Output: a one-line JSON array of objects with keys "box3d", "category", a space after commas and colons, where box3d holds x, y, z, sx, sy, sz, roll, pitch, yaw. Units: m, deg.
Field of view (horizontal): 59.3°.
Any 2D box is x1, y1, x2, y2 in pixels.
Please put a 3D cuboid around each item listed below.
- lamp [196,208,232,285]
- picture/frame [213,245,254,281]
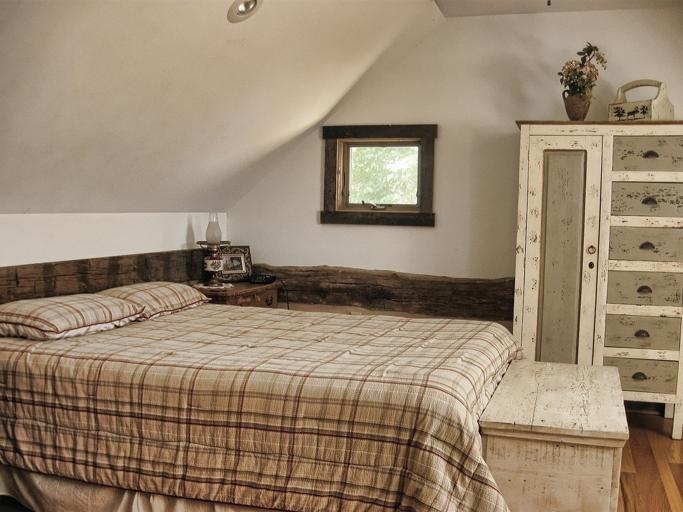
[{"box3d": [-1.071, -0.065, 5.048, 0.255, 0.604, 0.690, -1, 3, -14], "category": "lamp"}, {"box3d": [-0.939, 0.062, 5.195, 0.313, 0.285, 0.040, 4, -20, -42], "category": "picture/frame"}]
